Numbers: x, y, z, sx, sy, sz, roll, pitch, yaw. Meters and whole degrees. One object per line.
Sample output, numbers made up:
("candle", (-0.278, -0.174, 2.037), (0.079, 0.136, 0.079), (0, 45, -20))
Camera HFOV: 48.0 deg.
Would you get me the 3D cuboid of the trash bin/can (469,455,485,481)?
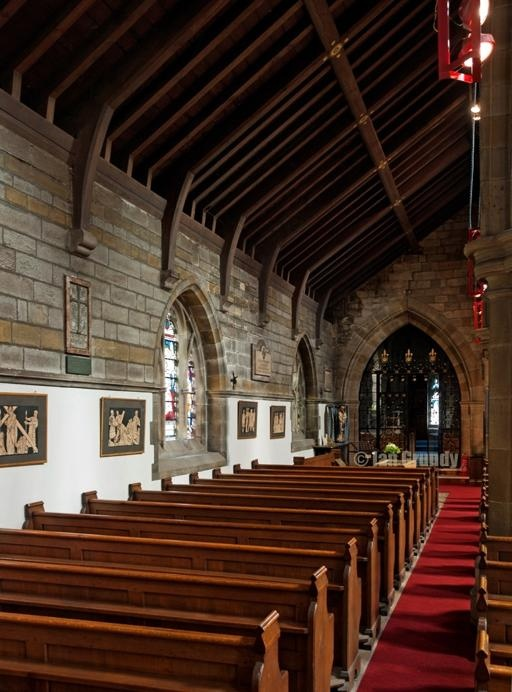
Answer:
("trash bin/can", (5.595, 3.110, 14.680), (0.345, 0.679, 0.300), (13, -1, 9))
